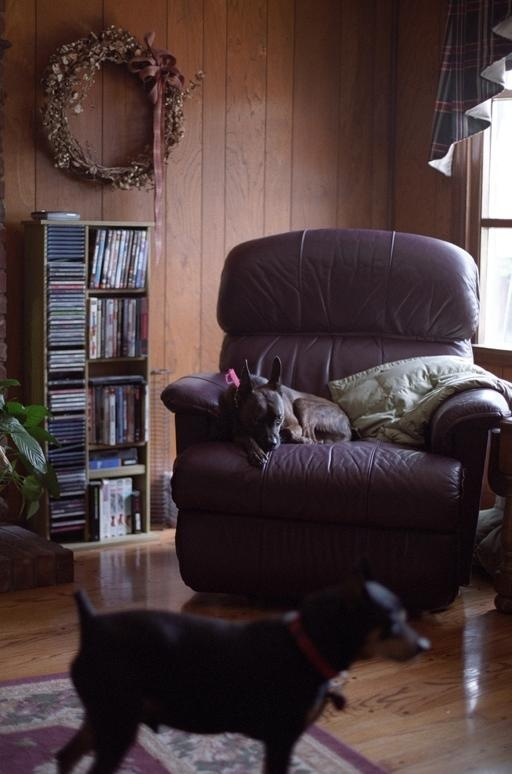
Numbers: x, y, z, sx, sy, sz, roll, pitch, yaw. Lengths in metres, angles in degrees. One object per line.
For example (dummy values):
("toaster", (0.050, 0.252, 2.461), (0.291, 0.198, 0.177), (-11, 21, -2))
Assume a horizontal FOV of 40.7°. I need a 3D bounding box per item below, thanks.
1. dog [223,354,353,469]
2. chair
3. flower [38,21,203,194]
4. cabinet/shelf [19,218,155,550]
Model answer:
("dog", (0.061, 0.104, 2.555), (0.381, 0.337, 0.682), (-8, -1, 5))
("chair", (0.303, 0.031, 2.545), (1.145, 1.161, 0.908), (2, 1, 14))
("flower", (-0.615, -1.289, 3.144), (0.765, 0.528, 0.282), (1, 1, -40))
("cabinet/shelf", (-0.730, -0.023, 3.063), (0.597, 0.966, 0.414), (1, 1, -23))
